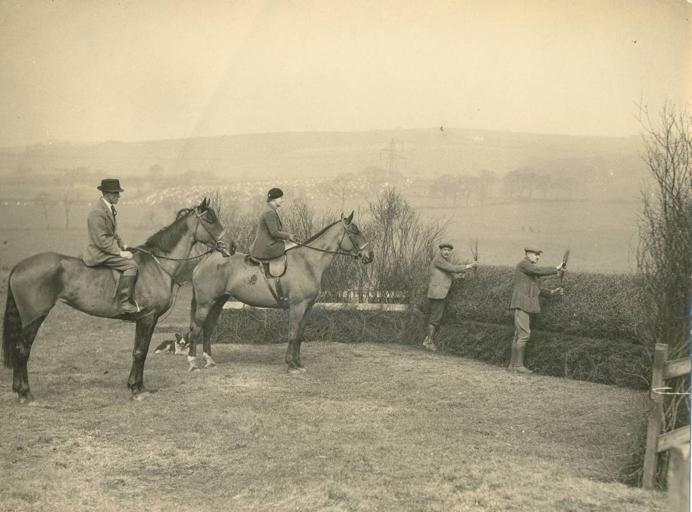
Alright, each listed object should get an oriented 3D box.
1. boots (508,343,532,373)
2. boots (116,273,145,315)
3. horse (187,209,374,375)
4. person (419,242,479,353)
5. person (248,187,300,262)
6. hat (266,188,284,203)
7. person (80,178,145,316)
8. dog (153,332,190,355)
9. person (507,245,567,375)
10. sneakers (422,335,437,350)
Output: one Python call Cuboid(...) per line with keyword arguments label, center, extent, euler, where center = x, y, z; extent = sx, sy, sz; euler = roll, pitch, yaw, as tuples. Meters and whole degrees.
Cuboid(label="boots", center=(2.684, 1.596, 13.264), extent=(0.426, 0.530, 0.316), euler=(0, 3, -15))
Cuboid(label="boots", center=(-2.994, 0.529, 11.546), extent=(0.500, 0.659, 0.328), euler=(1, -2, -11))
Cuboid(label="horse", center=(-1.069, 0.612, 13.233), extent=(2.879, 2.404, 0.858), euler=(-1, 5, 4))
Cuboid(label="person", center=(1.694, 0.689, 14.544), extent=(0.677, 1.811, 0.626), euler=(4, 8, 6))
Cuboid(label="person", center=(-1.106, -0.474, 12.897), extent=(0.677, 1.074, 0.569), euler=(2, 8, -5))
Cuboid(label="hat", center=(-1.080, -0.911, 12.922), extent=(0.259, 0.132, 0.187), euler=(-3, 24, 15))
Cuboid(label="person", center=(-3.165, -0.130, 11.602), extent=(0.801, 1.789, 0.485), euler=(1, 8, -8))
Cuboid(label="dog", center=(-2.671, 1.404, 13.658), extent=(0.715, 0.415, 0.252), euler=(2, -2, 4))
Cuboid(label="person", center=(3.014, 0.823, 13.469), extent=(0.966, 1.891, 0.770), euler=(-4, 11, -41))
Cuboid(label="sneakers", center=(1.426, 1.494, 14.501), extent=(0.120, 0.220, 0.314), euler=(2, 2, -38))
